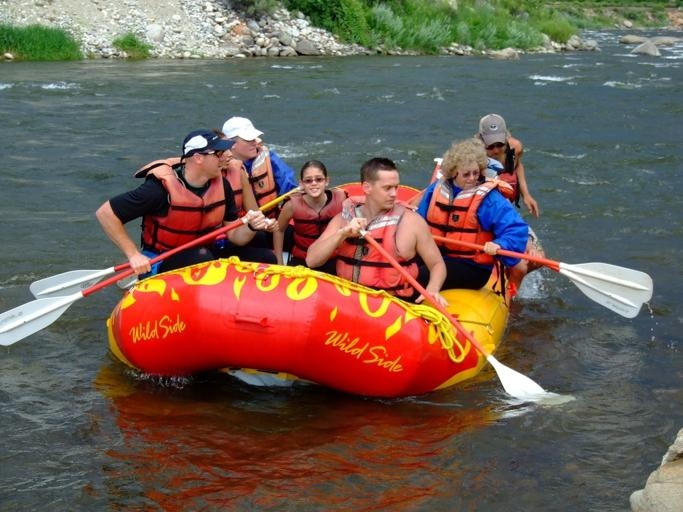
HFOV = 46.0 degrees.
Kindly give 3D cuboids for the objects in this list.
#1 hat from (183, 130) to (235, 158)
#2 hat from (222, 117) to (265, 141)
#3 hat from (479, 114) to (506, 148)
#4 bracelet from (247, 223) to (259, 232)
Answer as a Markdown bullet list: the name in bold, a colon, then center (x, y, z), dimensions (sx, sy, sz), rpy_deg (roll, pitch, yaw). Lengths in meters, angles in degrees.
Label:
- **hat**: center (-1.120, -0.932, 6.710), dimensions (0.429, 0.228, 0.371), rpy_deg (-2, 16, -6)
- **hat**: center (-0.954, -1.213, 7.743), dimensions (0.469, 0.150, 0.238), rpy_deg (3, 18, 3)
- **hat**: center (1.469, -1.275, 8.039), dimensions (0.342, 0.202, 0.363), rpy_deg (-5, 35, 5)
- **bracelet**: center (-0.756, -0.243, 6.783), dimensions (0.094, 0.020, 0.082), rpy_deg (17, -8, 31)
